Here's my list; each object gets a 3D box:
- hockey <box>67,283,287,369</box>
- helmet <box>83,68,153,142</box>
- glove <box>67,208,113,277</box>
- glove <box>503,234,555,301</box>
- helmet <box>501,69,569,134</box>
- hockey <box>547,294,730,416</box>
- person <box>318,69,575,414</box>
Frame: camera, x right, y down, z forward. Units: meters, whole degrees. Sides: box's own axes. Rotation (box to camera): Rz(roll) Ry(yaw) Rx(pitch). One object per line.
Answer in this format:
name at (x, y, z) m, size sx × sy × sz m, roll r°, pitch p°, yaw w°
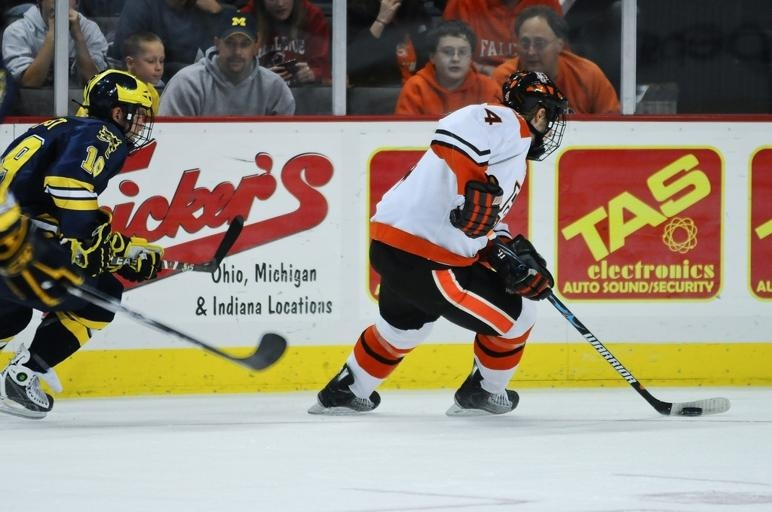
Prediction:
hockey at (-1.157, 0.392, 6.186) m, size 0.767 × 0.149 × 0.153 m, roll 28°, pitch -24°, yaw -5°
helmet at (-1.303, -0.757, 5.787) m, size 0.415 × 0.344 × 0.323 m, roll -1°, pitch 11°, yaw -36°
glove at (-1.394, -0.055, 5.608) m, size 0.149 × 0.312 × 0.247 m, roll 9°, pitch -11°, yaw 3°
glove at (0.693, 0.063, 5.703) m, size 0.158 × 0.231 × 0.321 m, roll 25°, pitch 21°, yaw -44°
helmet at (0.671, -0.770, 5.720) m, size 0.351 × 0.295 × 0.290 m, roll 4°, pitch 9°, yaw -19°
hockey at (1.353, 0.582, 6.394) m, size 0.981 × 0.111 × 0.120 m, roll 40°, pitch 23°, yaw 28°
person at (0.313, -0.027, 5.696) m, size 1.033 × 1.802 × 0.525 m, roll 4°, pitch 8°, yaw 6°
